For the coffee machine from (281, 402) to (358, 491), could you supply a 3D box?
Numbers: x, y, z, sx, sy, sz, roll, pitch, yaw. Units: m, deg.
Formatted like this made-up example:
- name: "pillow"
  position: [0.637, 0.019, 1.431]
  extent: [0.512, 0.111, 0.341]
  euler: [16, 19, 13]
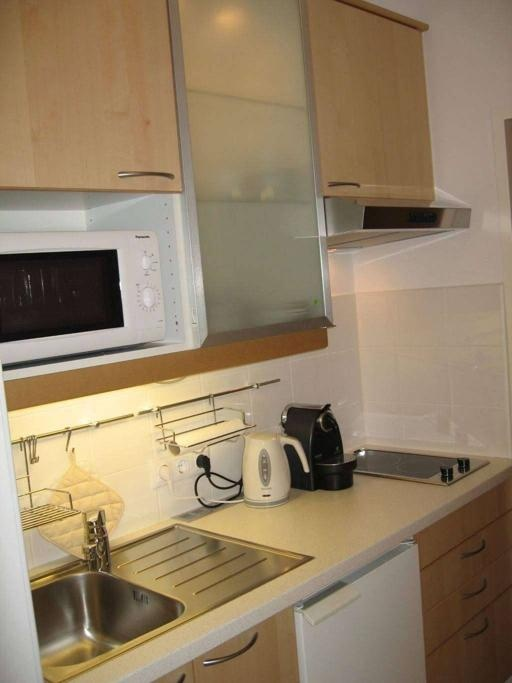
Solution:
- name: "coffee machine"
  position: [0.218, 0.347, 1.846]
  extent: [0.297, 0.322, 0.218]
  euler: [-1, 5, 30]

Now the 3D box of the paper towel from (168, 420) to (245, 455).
- name: "paper towel"
  position: [-0.145, 0.292, 1.615]
  extent: [0.124, 0.076, 0.292]
  euler: [-1, 8, 45]

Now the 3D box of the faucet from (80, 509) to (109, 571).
- name: "faucet"
  position: [-0.391, 0.479, 1.301]
  extent: [0.063, 0.138, 0.066]
  euler: [-2, 14, -29]

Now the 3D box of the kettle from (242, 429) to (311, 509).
- name: "kettle"
  position: [0.033, 0.391, 1.711]
  extent: [0.239, 0.236, 0.158]
  euler: [0, 2, -11]
